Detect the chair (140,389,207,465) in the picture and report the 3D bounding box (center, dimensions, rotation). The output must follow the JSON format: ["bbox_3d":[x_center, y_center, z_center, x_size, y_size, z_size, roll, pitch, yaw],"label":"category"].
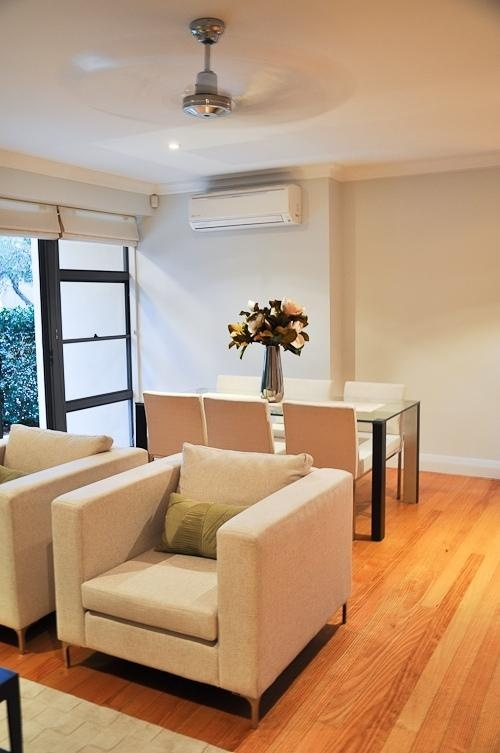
[{"bbox_3d":[-0.479,0.306,3.905,0.374,0.519,0.461,4,8,22],"label":"chair"}]

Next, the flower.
[{"bbox_3d":[0.109,-0.301,3.848,0.621,0.360,0.551,-5,0,-30],"label":"flower"}]

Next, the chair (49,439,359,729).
[{"bbox_3d":[-0.172,0.676,2.234,0.873,0.747,0.769,2,5,30],"label":"chair"}]

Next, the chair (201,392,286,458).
[{"bbox_3d":[-0.050,0.240,3.618,0.349,0.494,0.382,4,10,27],"label":"chair"}]
